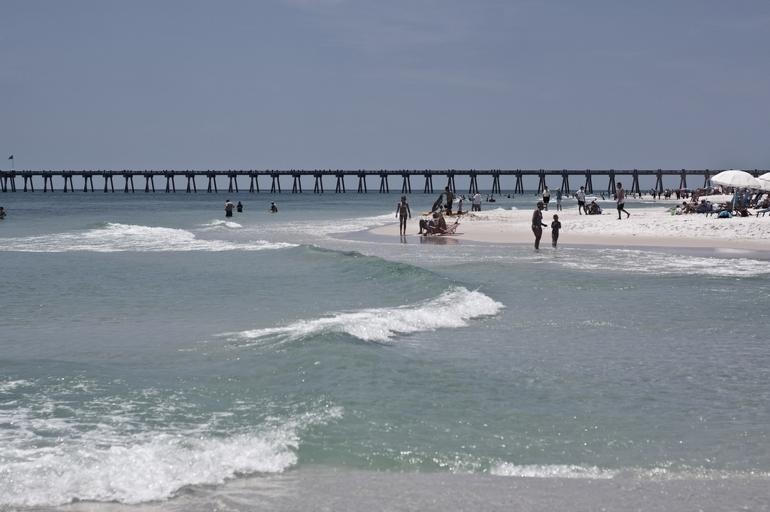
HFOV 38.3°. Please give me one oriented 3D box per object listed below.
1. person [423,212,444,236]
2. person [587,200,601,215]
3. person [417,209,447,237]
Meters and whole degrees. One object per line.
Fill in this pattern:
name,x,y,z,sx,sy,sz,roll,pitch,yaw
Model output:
person,1.978,-1.286,43.957,0.889,0.829,2.282,0,2,2
person,9.834,-2.275,52.652,0.849,0.395,0.967,7,-6,7
person,1.804,-1.243,43.548,1.242,0.556,1.261,1,13,-3
